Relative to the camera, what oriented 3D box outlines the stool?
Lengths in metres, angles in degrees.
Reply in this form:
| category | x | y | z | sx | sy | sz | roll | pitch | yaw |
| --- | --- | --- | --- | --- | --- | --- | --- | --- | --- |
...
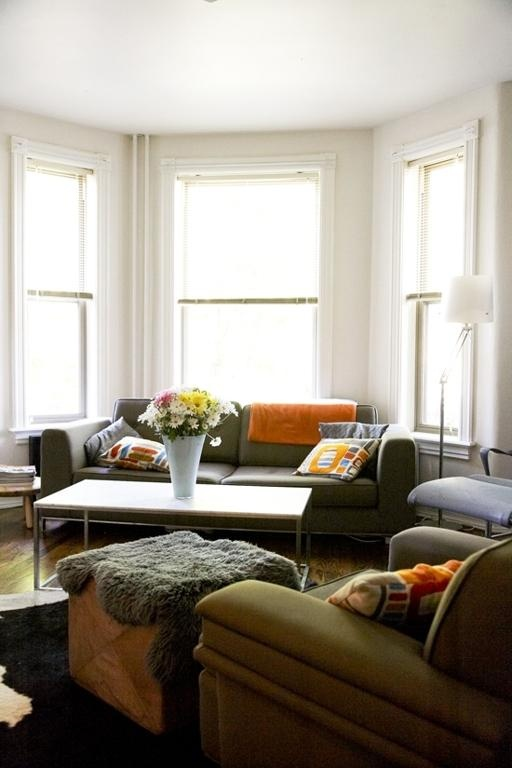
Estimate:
| category | x | y | z | sx | sy | sz | roll | pitch | yaw |
| --- | --- | --- | --- | --- | --- | --- | --- | --- | --- |
| stool | -0.212 | 0.665 | 1.832 | 0.622 | 0.388 | 0.582 | -4 | -4 | 43 |

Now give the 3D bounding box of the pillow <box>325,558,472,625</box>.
| category | x | y | z | sx | sy | sz | roll | pitch | yaw |
| --- | --- | --- | --- | --- | --- | --- | --- | --- | --- |
| pillow | 0.257 | 0.386 | 1.145 | 0.227 | 0.105 | 0.104 | 1 | 1 | -15 |

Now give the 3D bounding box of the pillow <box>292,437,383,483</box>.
| category | x | y | z | sx | sy | sz | roll | pitch | yaw |
| --- | --- | --- | --- | --- | --- | --- | --- | --- | --- |
| pillow | 0.436 | 0.387 | 3.331 | 0.375 | 0.208 | 0.271 | 2 | 1 | 39 |

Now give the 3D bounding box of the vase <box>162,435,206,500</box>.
| category | x | y | z | sx | sy | sz | roll | pitch | yaw |
| --- | --- | --- | --- | --- | --- | --- | --- | --- | --- |
| vase | -0.283 | 0.360 | 2.651 | 0.222 | 0.292 | 0.227 | 1 | -5 | -2 |

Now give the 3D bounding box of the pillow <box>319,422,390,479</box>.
| category | x | y | z | sx | sy | sz | roll | pitch | yaw |
| --- | --- | --- | --- | --- | --- | --- | --- | --- | --- |
| pillow | 0.540 | 0.340 | 3.498 | 0.085 | 0.294 | 0.290 | 27 | -16 | -36 |

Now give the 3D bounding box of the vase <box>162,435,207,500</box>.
| category | x | y | z | sx | sy | sz | roll | pitch | yaw |
| --- | --- | --- | --- | --- | --- | --- | --- | --- | --- |
| vase | -0.311 | 0.339 | 2.636 | 0.218 | 0.255 | 0.220 | -3 | -7 | 11 |

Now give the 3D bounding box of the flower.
| category | x | y | z | sx | sy | sz | roll | pitch | yaw |
| --- | --- | --- | --- | --- | --- | --- | --- | --- | --- |
| flower | -0.288 | 0.141 | 2.665 | 0.363 | 0.257 | 0.366 | -6 | -16 | 2 |
